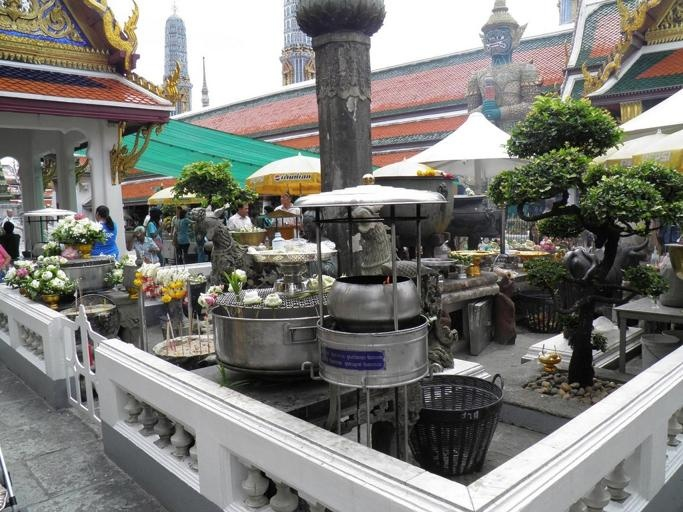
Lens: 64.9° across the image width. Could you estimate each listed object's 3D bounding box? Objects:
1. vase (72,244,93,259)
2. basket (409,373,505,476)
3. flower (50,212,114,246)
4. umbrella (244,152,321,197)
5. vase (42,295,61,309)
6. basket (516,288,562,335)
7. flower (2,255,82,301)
[{"bbox_3d":[-3.110,-0.071,6.437,0.162,0.123,0.164,5,13,21],"label":"vase"},{"bbox_3d":[0.734,1.072,3.498,0.646,0.607,0.568,-5,8,-21],"label":"basket"},{"bbox_3d":[-3.159,-0.297,6.428,0.447,0.259,0.450,4,1,3],"label":"flower"},{"bbox_3d":[-1.013,-1.363,9.459,1.104,0.502,1.114,-3,5,43],"label":"umbrella"},{"bbox_3d":[-3.092,0.456,5.762,0.159,0.129,0.160,3,18,8],"label":"vase"},{"bbox_3d":[2.467,0.702,6.886,0.660,0.496,0.698,-2,1,-10],"label":"basket"},{"bbox_3d":[-3.241,0.245,5.796,0.639,0.405,0.573,-3,7,-29],"label":"flower"}]
